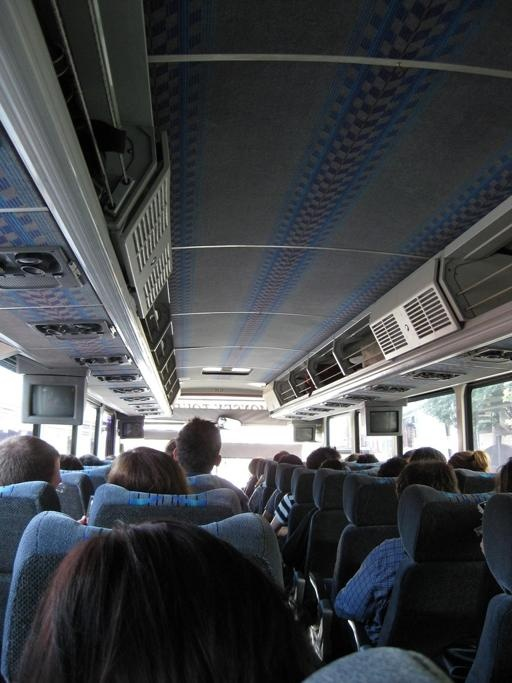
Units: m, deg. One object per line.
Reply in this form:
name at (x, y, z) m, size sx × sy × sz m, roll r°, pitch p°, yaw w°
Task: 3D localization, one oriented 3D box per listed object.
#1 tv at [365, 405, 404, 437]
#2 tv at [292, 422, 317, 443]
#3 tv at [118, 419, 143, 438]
tv at (2.286, 1.463, 8.518) m, size 0.895 × 0.712 × 0.535 m, roll -1°, pitch -11°, yaw -2°
tv at (1.480, 2.742, 13.360) m, size 0.789 × 0.626 × 0.387 m, roll 0°, pitch 0°, yaw 2°
tv at (-3.953, 2.748, 14.074) m, size 0.743 × 0.568 × 0.160 m, roll 1°, pitch -5°, yaw -15°
